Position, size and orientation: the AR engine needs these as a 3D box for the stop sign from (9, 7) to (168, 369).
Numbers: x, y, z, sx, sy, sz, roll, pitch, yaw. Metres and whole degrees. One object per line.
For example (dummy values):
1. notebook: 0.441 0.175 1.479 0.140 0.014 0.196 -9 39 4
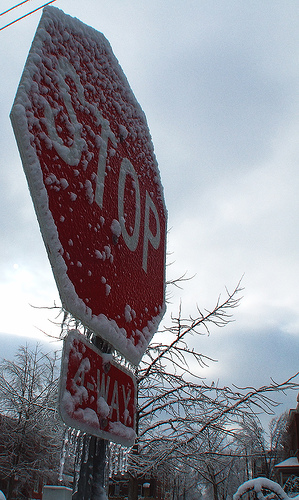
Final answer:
1. stop sign: -0.186 -0.368 2.184 0.143 1.641 1.239 -8 -28 21
